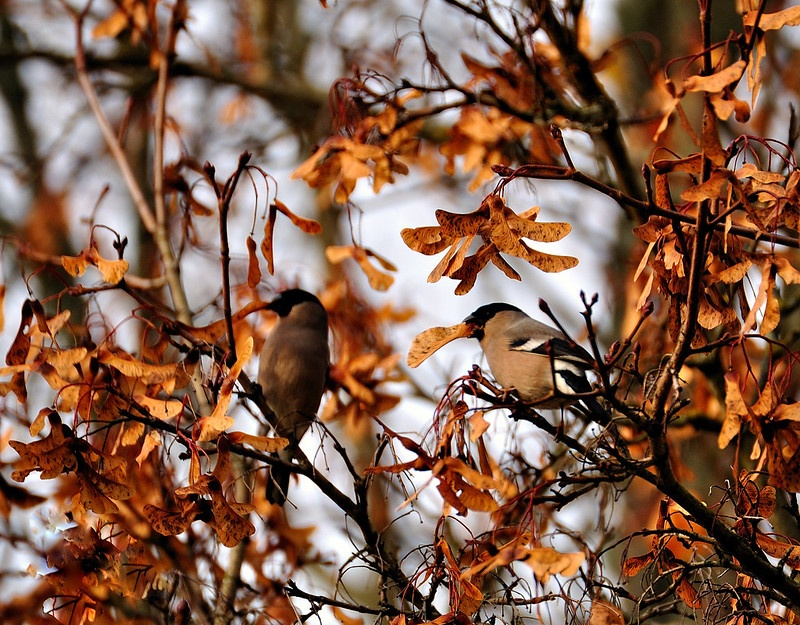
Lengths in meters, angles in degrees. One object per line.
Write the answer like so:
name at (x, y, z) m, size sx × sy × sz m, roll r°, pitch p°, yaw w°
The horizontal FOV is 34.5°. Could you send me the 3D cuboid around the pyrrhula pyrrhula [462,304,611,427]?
pyrrhula pyrrhula at (0.737, 0.302, 6.930) m, size 0.290 × 0.935 × 0.437 m, roll 28°, pitch -90°, yaw -45°
